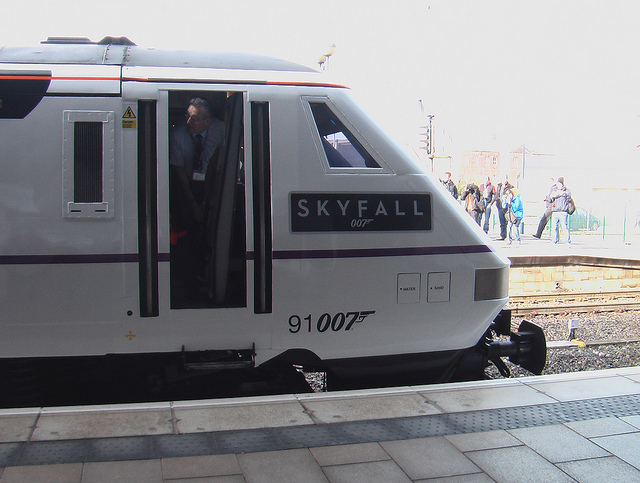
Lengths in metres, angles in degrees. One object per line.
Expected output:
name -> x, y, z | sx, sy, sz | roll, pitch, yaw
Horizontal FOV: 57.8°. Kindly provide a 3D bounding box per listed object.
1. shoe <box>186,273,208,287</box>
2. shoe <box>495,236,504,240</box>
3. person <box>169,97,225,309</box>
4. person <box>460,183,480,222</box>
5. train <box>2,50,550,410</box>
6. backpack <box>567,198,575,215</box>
shoe -> -1.198, 0.373, 5.619 | 0.156, 0.048, 0.154 | 8, 4, 23
shoe -> 6.188, -0.108, 20.088 | 0.402, 0.186, 0.131 | 3, -1, -17
person -> -1.146, -0.420, 5.479 | 0.543, 1.868, 0.917 | -2, 6, -14
person -> 4.707, -1.189, 18.124 | 0.543, 1.418, 0.579 | -18, 32, -11
train -> -1.021, -0.231, 6.713 | 6.568, 3.934, 2.126 | -2, 4, -12
backpack -> 7.374, -1.034, 17.138 | 0.346, 0.416, 0.106 | -6, 7, -42
